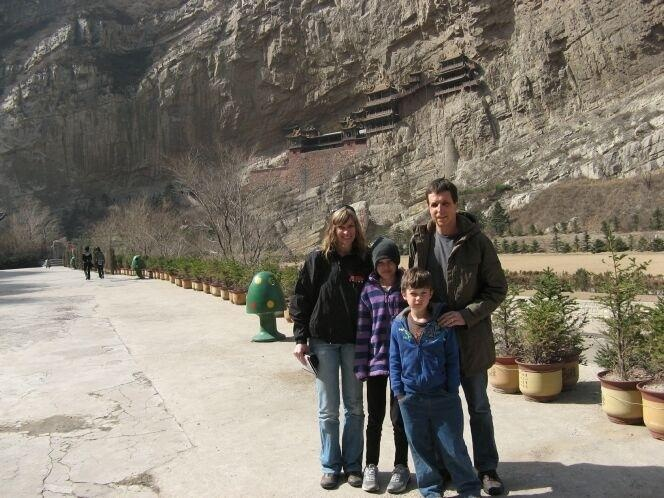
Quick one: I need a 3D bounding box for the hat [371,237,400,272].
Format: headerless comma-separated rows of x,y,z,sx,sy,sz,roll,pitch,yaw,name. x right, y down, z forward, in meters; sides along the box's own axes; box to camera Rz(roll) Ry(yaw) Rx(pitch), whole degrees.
0.708,0.032,9.375,0.282,0.441,0.426,1,7,11,hat

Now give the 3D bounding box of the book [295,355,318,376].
-0.332,1.531,9.378,0.070,0.258,0.257,-20,-1,-39,book

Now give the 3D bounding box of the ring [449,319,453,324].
1.543,0.936,9.075,0.060,0.071,0.036,-7,1,12,ring
